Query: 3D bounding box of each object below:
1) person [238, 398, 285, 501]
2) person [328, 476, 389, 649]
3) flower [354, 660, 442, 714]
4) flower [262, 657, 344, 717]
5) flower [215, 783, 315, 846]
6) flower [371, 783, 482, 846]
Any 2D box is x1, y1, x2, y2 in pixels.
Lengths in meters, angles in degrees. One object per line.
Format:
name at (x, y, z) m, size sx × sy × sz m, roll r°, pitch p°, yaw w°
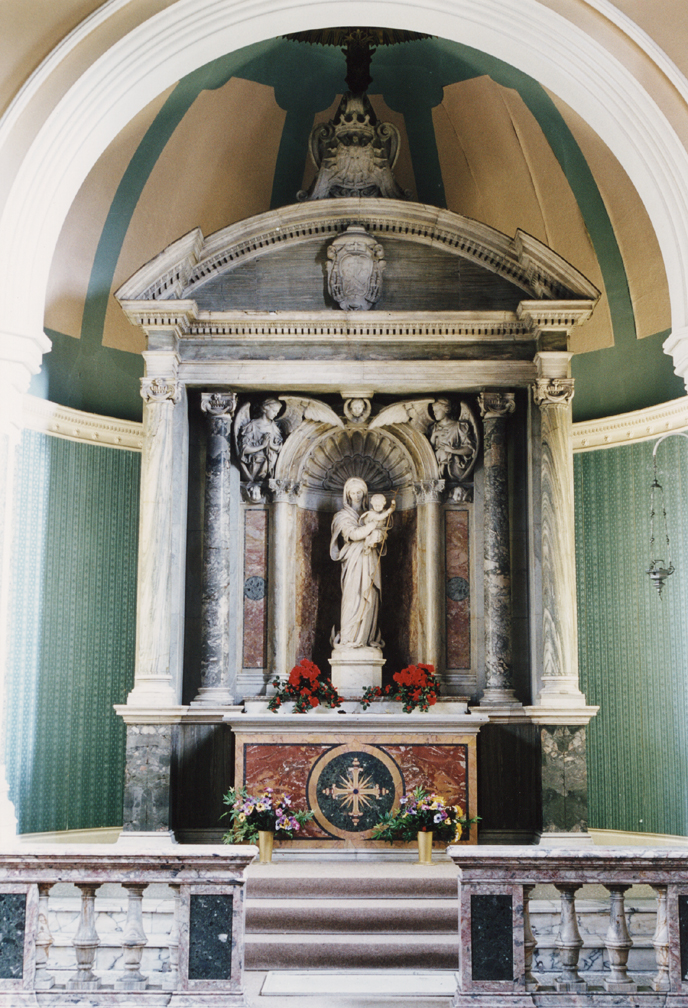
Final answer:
person at (-0.607, -0.441, 13.494) m, size 0.346 × 0.112 × 0.791 m, roll 4°, pitch -49°, yaw -4°
person at (0.127, 0.438, 13.465) m, size 0.471 × 1.238 × 0.407 m, roll -5°, pitch -12°, yaw 14°
flower at (0.408, 1.264, 12.729) m, size 0.392 × 0.232 × 0.321 m, roll -23°, pitch -6°, yaw 15°
flower at (-0.249, 1.237, 12.695) m, size 0.355 × 0.319 × 0.360 m, roll 3°, pitch 6°, yaw -28°
flower at (-0.500, 1.981, 12.078) m, size 0.440 × 0.282 × 0.383 m, roll -1°, pitch 22°, yaw -9°
flower at (0.519, 1.984, 12.136) m, size 0.665 × 0.357 × 0.628 m, roll -2°, pitch -13°, yaw 1°
